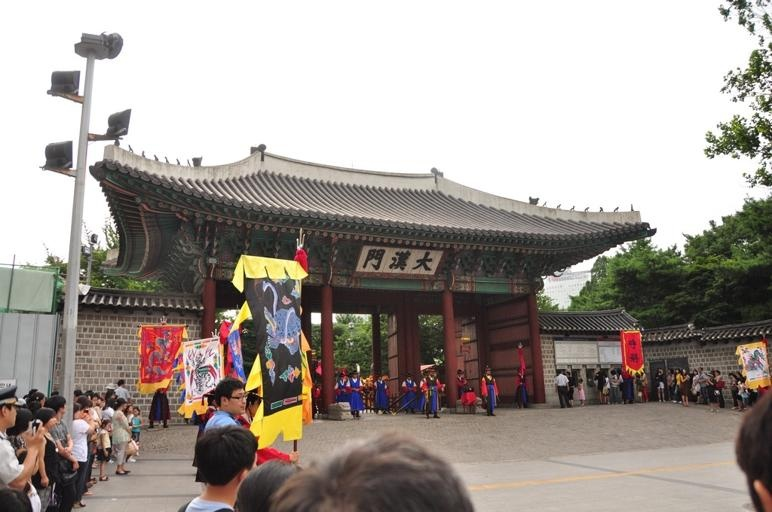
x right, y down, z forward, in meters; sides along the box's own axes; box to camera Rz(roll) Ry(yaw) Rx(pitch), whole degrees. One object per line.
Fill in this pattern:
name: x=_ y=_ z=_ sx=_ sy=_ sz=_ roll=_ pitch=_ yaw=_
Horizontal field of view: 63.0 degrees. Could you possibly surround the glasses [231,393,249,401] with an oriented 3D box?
glasses: x=-1.902 y=1.811 z=8.147 sx=0.176 sy=0.088 sz=0.056 roll=8 pitch=-13 yaw=-39
